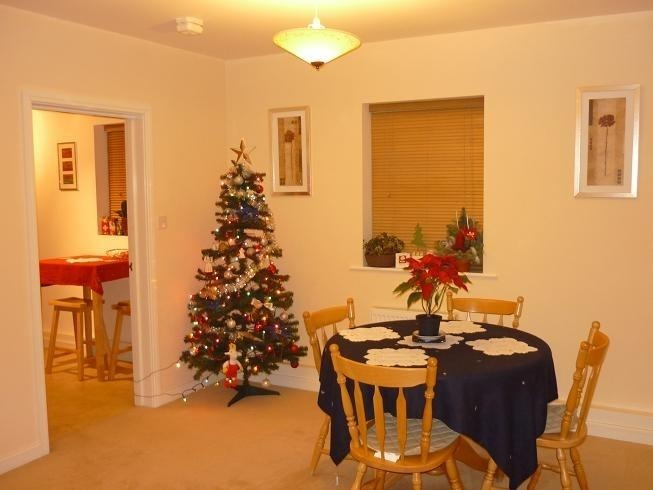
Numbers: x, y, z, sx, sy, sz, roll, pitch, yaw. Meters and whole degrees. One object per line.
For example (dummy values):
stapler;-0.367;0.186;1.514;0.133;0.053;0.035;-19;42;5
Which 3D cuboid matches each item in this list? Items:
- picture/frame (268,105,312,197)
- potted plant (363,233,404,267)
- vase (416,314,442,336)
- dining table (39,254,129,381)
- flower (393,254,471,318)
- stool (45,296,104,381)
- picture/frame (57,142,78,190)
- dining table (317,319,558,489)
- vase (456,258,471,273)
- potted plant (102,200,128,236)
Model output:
picture/frame;-0.369;-0.936;5.276;0.506;0.850;0.016;3;8;31
potted plant;0.576;0.068;5.133;0.365;0.311;0.330;0;2;36
vase;0.685;0.525;3.495;0.148;0.110;0.150;0;0;-9
dining table;-2.687;0.787;5.682;0.930;0.924;0.903;-8;-1;-14
flower;0.696;0.297;3.455;0.456;0.405;0.472;-2;7;-14
stool;-2.714;0.987;5.815;0.554;0.757;0.551;1;6;12
picture/frame;-3.152;-0.956;6.400;0.320;0.573;0.104;6;12;31
dining table;0.913;0.878;3.430;1.200;0.686;1.223;0;0;20
vase;1.091;0.155;4.160;0.119;0.143;0.101;2;-4;-37
potted plant;-2.475;-0.312;6.178;0.501;0.403;0.172;7;13;39
